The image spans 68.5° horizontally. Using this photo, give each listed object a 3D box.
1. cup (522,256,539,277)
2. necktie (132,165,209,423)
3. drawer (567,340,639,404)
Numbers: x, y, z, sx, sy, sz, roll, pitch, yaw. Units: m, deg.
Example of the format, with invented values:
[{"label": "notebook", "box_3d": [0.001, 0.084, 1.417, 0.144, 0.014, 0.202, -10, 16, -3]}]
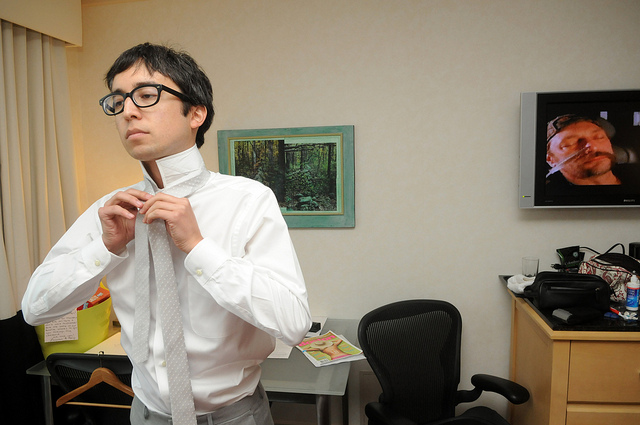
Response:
[{"label": "cup", "box_3d": [1.455, 0.375, 3.269, 0.119, 0.180, 0.122, -3, 3, 0]}, {"label": "necktie", "box_3d": [-0.654, 0.421, 2.028, 0.298, 0.867, 0.034, -2, 7, 13]}, {"label": "drawer", "box_3d": [1.638, 0.910, 2.727, 0.371, 0.331, 0.201, 0, -4, 4]}]
